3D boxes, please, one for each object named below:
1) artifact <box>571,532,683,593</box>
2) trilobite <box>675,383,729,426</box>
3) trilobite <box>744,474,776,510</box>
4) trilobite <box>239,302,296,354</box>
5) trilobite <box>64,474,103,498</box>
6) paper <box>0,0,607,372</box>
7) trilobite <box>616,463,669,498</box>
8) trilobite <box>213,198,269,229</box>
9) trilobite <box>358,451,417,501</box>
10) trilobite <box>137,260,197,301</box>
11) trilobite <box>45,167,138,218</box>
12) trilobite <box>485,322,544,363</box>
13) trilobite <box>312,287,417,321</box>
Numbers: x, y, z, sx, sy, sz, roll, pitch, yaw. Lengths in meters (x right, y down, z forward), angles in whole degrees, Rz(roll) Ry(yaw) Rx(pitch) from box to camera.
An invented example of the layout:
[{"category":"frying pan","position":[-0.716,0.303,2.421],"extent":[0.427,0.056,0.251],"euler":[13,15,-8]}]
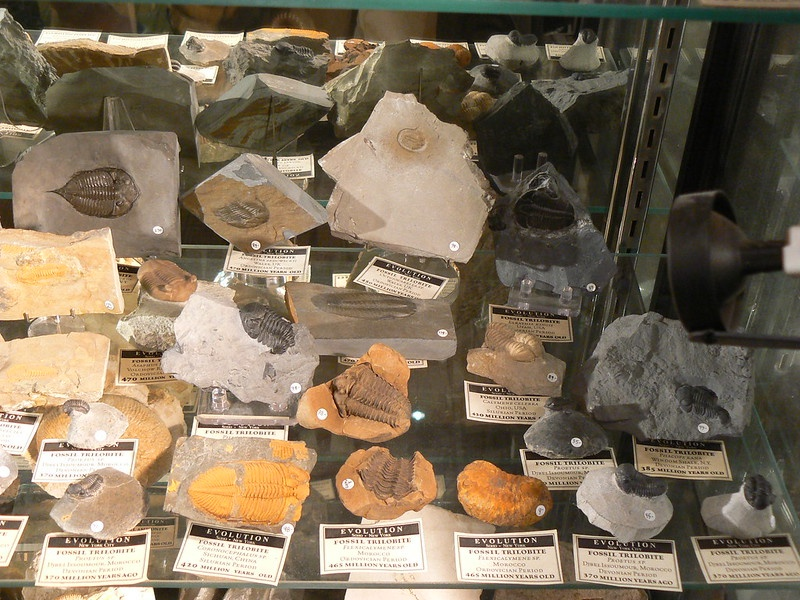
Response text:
[{"category":"artifact","position":[0.450,0.520,1.316],"extent":[0.210,0.056,0.080],"euler":[4,19,1]},{"category":"trilobite","position":[0.668,0.238,1.462],"extent":[0.064,0.022,0.104],"euler":[-18,-1,-45]},{"category":"trilobite","position":[0.723,0.384,1.332],"extent":[0.053,0.024,0.068],"euler":[0,45,2]},{"category":"trilobite","position":[-0.296,0.073,1.496],"extent":[0.040,0.126,0.091],"euler":[-35,22,50]},{"category":"trilobite","position":[-0.640,0.377,1.336],"extent":[0.055,0.016,0.044],"euler":[-24,39,-17]},{"category":"paper","position":[-0.069,-0.317,1.566],"extent":[1.096,0.822,0.256],"euler":[3,-9,0]},{"category":"trilobite","position":[0.494,0.374,1.352],"extent":[0.084,0.062,0.031],"euler":[15,-21,5]},{"category":"trilobite","position":[-0.392,-0.218,1.656],"extent":[0.110,0.054,0.065],"euler":[2,22,4]},{"category":"trilobite","position":[-0.031,0.373,1.417],"extent":[0.120,0.049,0.121],"euler":[3,19,-2]},{"category":"trilobite","position":[-0.609,-0.035,1.719],"extent":[0.161,0.088,0.213],"euler":[-4,-19,-18]},{"category":"trilobite","position":[-0.738,-0.258,1.597],"extent":[0.203,0.123,0.041],"euler":[3,18,-3]},{"category":"trilobite","position":[0.271,0.093,1.597],"extent":[0.073,0.029,0.120],"euler":[-19,32,-28]},{"category":"trilobite","position":[-0.085,0.015,1.676],"extent":[0.188,0.028,0.107],"euler":[6,38,-1]}]
